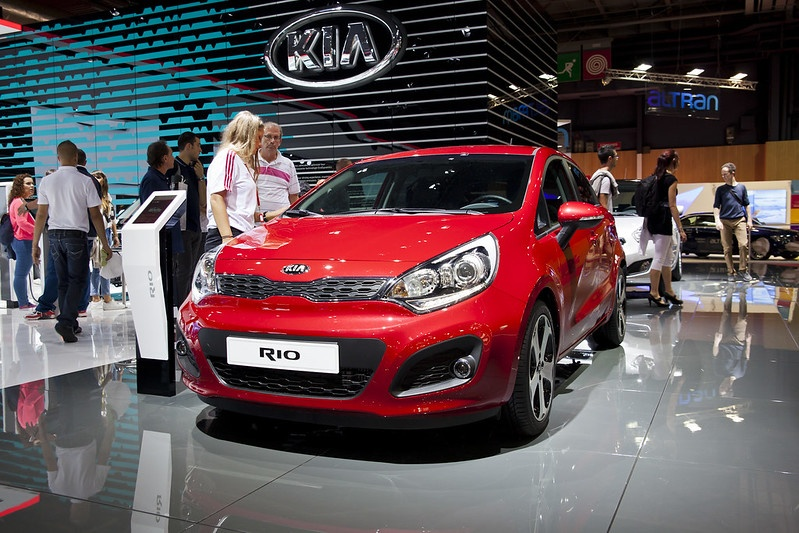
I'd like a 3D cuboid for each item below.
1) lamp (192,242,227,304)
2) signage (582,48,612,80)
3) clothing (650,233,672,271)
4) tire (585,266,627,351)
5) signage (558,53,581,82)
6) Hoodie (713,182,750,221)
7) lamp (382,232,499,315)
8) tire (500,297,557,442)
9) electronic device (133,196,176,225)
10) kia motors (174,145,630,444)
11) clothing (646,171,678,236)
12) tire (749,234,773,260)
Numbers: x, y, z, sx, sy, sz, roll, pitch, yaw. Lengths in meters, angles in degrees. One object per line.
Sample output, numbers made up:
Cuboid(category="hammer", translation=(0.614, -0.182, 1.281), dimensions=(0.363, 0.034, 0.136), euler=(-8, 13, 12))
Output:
Cuboid(category="lamp", translation=(-1.048, 0.051, 2.843), dimensions=(0.104, 0.342, 0.218), euler=(12, -8, -44))
Cuboid(category="signage", translation=(6.584, -6.772, 16.337), dimensions=(0.871, 1.051, 0.575), euler=(1, 7, 19))
Cuboid(category="clothing", translation=(3.346, -0.183, 6.223), dimensions=(0.162, 0.383, 0.293), euler=(-5, 36, 21))
Cuboid(category="tire", translation=(1.739, 0.350, 4.109), dimensions=(0.219, 0.600, 0.608), euler=(-1, 20, 25))
Cuboid(category="signage", translation=(5.710, -6.659, 16.328), dimensions=(0.713, 0.988, 0.466), euler=(1, 7, 17))
Cuboid(category="Hoodie", translation=(6.166, -1.198, 9.063), dimensions=(0.514, 0.660, 0.242), euler=(3, 8, 32))
Cuboid(category="lamp", translation=(0.239, 0.020, 2.444), dimensions=(0.401, 0.144, 0.405), euler=(-15, -9, -35))
Cuboid(category="tire", translation=(0.690, 0.554, 2.646), dimensions=(0.191, 0.564, 0.627), euler=(2, 33, 22))
Cuboid(category="electronic device", translation=(-1.680, -0.389, 3.355), dimensions=(0.200, 0.196, 0.196), euler=(3, 8, 32))
Cuboid(category="kia motors", translation=(-0.009, 0.119, 2.875), dimensions=(2.193, 1.694, 1.359), euler=(-5, 8, -32))
Cuboid(category="clothing", translation=(3.338, -0.783, 6.161), dimensions=(0.386, 0.791, 0.274), euler=(-5, 8, -33))
Cuboid(category="tire", translation=(9.363, -0.518, 12.640), dimensions=(0.295, 0.721, 0.735), euler=(1, 2, -12))
